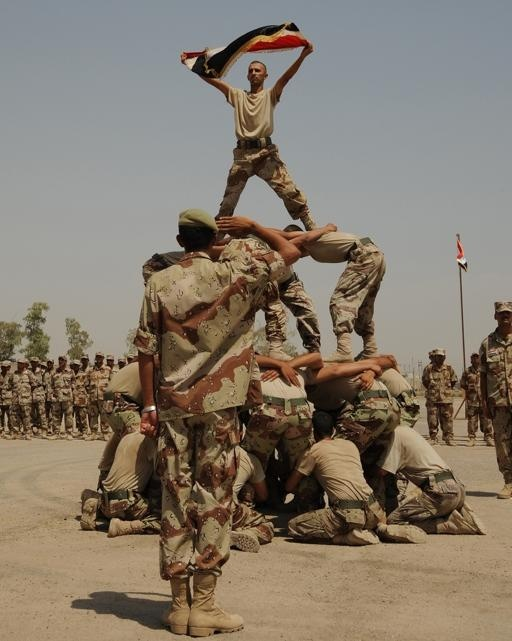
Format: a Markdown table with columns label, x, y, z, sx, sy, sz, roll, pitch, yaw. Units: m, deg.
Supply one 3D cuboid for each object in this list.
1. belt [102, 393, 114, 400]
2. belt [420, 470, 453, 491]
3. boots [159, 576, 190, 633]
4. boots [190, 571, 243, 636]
| label | x | y | z | sx | sy | sz | roll | pitch | yaw |
| --- | --- | --- | --- | --- | --- | --- | --- | --- | --- |
| belt | -1.362 | 0.701 | 6.990 | 0.097 | 0.057 | 0.083 | 5 | -8 | -20 |
| belt | 1.525 | 1.336 | 6.353 | 0.226 | 0.102 | 0.163 | -26 | -4 | -14 |
| boots | -0.393 | 1.451 | 3.881 | 0.112 | 0.274 | 0.130 | 1 | -7 | -5 |
| boots | -0.204 | 1.442 | 3.881 | 0.282 | 0.308 | 0.154 | 0 | -7 | -1 |
